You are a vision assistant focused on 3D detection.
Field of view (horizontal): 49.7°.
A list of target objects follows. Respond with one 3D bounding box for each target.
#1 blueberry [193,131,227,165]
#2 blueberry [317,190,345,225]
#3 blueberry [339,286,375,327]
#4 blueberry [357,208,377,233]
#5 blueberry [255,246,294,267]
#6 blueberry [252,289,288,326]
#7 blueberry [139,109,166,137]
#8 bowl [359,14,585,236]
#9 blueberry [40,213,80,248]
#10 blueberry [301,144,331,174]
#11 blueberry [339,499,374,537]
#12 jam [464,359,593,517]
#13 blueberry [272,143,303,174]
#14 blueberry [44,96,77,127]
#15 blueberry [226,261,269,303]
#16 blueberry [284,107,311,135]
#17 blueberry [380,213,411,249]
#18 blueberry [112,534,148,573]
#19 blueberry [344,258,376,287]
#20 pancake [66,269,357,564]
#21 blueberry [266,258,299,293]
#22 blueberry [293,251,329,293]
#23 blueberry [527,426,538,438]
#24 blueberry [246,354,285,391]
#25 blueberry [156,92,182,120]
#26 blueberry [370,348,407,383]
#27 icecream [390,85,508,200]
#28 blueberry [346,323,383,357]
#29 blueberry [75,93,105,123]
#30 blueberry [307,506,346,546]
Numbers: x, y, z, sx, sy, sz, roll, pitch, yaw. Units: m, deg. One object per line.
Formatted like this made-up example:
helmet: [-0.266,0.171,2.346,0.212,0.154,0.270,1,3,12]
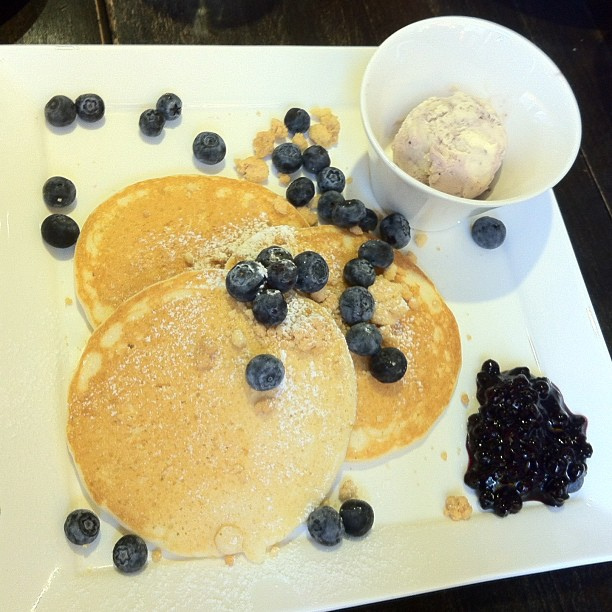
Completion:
blueberry: [-0.297,-0.483,2.023,0.094,0.076,0.093,25,77,2]
blueberry: [0.079,-0.299,2.036,0.087,0.050,0.095,-21,83,-5]
blueberry: [0.141,-0.009,1.846,0.112,0.083,0.145,3,29,-10]
blueberry: [0.186,-0.256,1.997,0.056,0.036,0.070,-9,74,-9]
blueberry: [-0.083,-0.137,1.769,0.063,0.037,0.068,-14,65,-21]
blueberry: [-0.092,0.007,1.728,0.095,0.067,0.122,2,52,-5]
blueberry: [-0.470,-0.563,2.021,0.063,0.057,0.083,27,77,3]
bowl: [0.478,-0.546,2.142,0.597,0.430,0.673,0,79,-4]
blueberry: [-0.697,-0.212,1.867,0.086,0.050,0.101,4,80,-18]
blueberry: [0.028,-0.456,2.088,0.075,0.079,0.084,-2,65,-19]
blueberry: [0.141,0.576,1.770,0.082,0.048,0.093,-9,67,-3]
jam: [0.648,0.400,1.898,0.371,0.156,0.436,20,77,1]
blueberry: [-0.058,-0.455,2.074,0.080,0.047,0.090,-5,73,-6]
blueberry: [-0.734,-0.586,1.982,0.095,0.051,0.078,-28,81,-9]
blueberry: [-0.153,-0.068,1.711,0.090,0.055,0.112,-3,85,2]
blueberry: [-0.027,-0.586,2.082,0.073,0.038,0.081,5,92,-5]
blueberry: [0.267,-0.220,2.000,0.088,0.050,0.098,16,61,-32]
blueberry: [-0.454,0.633,1.702,0.081,0.047,0.091,-2,76,-9]
blueberry: [0.150,-0.094,1.837,0.070,0.041,0.077,-10,68,-10]
pancake: [-0.259,0.281,1.835,0.747,0.171,0.831,11,58,-3]
blueberry: [-0.064,-0.080,1.729,0.068,0.078,0.092,7,96,7]
blueberry: [0.014,-0.092,1.748,0.085,0.051,0.102,-5,85,-20]
blueberry: [0.632,0.352,1.850,0.043,0.032,0.028,0,77,-4]
blueberry: [-0.105,0.170,1.698,0.098,0.078,0.089,-12,78,-6]
blueberry: [-0.422,-0.619,2.042,0.077,0.052,0.070,-22,80,-8]
blueberry: [0.226,0.161,1.807,0.095,0.055,0.090,-2,78,-4]
icecream: [0.421,-0.477,1.904,0.297,0.142,0.291,32,78,3]
blueberry: [0.156,0.089,1.785,0.080,0.047,0.088,-8,71,-2]
blueberry: [-0.652,-0.602,2.000,0.081,0.054,0.074,-10,78,-6]
blueberry: [0.054,0.582,1.746,0.080,0.058,0.107,-15,71,-23]
